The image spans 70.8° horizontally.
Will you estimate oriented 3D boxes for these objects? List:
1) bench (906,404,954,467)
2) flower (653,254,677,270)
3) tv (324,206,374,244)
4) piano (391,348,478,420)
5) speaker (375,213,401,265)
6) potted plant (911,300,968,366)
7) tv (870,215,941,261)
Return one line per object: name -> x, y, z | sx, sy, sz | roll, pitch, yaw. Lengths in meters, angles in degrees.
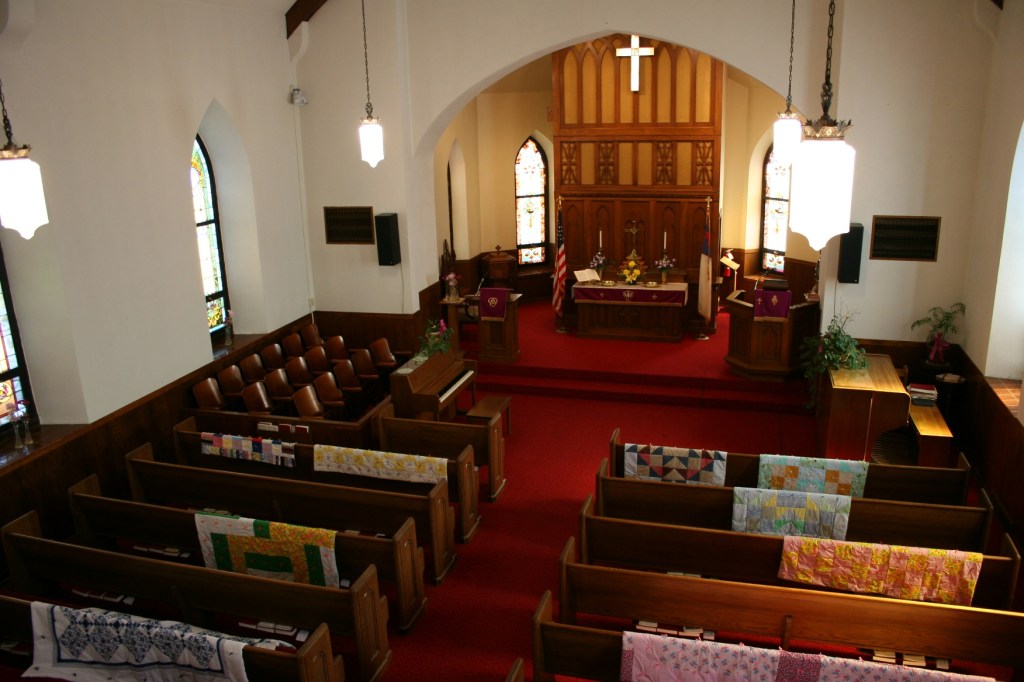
bench -> 5.913, 1.355, 10.242 | 0.320, 0.446, 0.863 | 2, 15, 19
flower -> 3.252, -1.675, 15.340 | 0.398, 0.306, 0.190 | 0, 13, 9
tv -> -2.994, -2.144, 13.413 | 1.102, 0.843, 0.618 | 1, 8, 7
piano -> -1.250, 0.729, 11.517 | 0.335, 0.720, 0.982 | 2, 19, 14
speaker -> -2.223, -1.818, 13.057 | 0.454, 0.954, 0.284 | -7, 13, -22
potted plant -> 6.745, -0.116, 11.421 | 0.827, 1.240, 0.848 | 4, 14, 30
tv -> 6.205, -1.617, 11.418 | 0.944, 0.691, 0.188 | 4, 13, 23
